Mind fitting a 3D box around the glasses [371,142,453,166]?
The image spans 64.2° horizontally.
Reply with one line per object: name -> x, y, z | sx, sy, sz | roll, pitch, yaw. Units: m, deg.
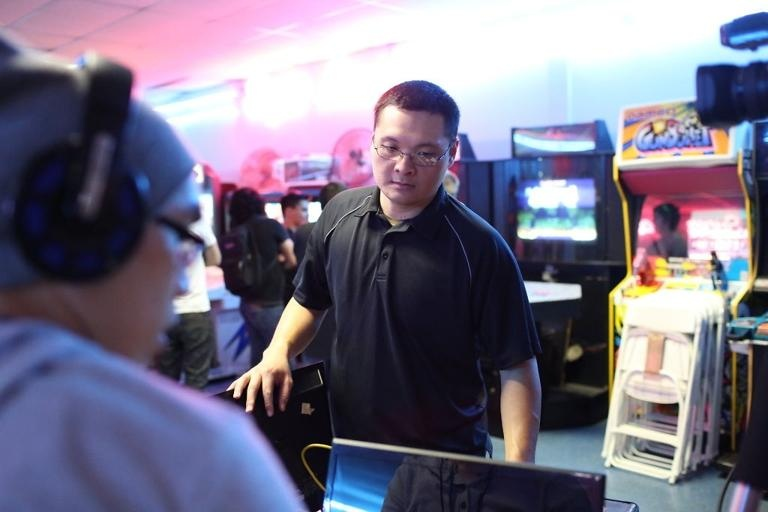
glasses -> 0.068, -0.278, 1.700 | 0.197, 0.071, 0.066 | -4, 5, 2
